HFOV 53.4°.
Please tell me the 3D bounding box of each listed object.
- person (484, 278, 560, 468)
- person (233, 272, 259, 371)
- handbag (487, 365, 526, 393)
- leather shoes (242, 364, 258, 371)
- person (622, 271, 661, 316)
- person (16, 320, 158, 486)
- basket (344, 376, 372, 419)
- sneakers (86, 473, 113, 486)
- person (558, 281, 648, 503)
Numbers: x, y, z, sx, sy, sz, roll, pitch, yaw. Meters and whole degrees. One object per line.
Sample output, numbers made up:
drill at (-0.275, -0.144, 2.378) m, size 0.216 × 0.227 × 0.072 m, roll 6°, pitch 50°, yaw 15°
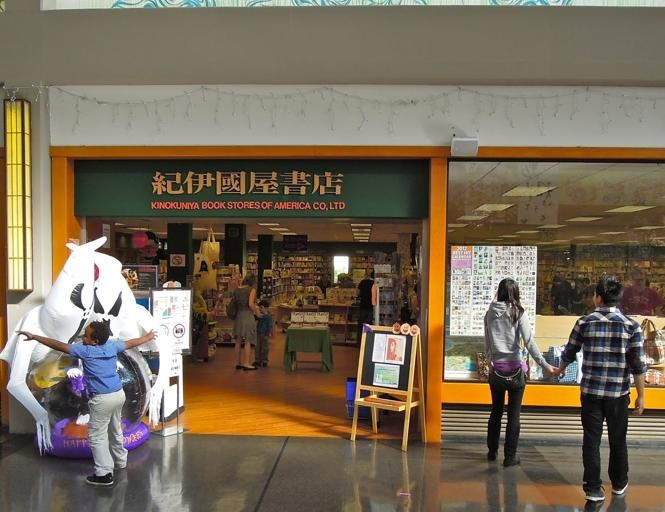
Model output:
person at (1.937, 1.305, 7.205) m, size 0.755 × 2.031 × 0.399 m, roll 8°, pitch 13°, yaw 33°
person at (-1.525, 1.173, 11.609) m, size 0.414 × 1.719 × 1.265 m, roll -1°, pitch 11°, yaw -8°
handbag at (1.895, 1.338, 7.101) m, size 0.411 × 0.294 × 0.236 m, roll -1°, pitch -3°, yaw 6°
leather shoes at (-1.413, 1.931, 11.198) m, size 0.236 × 0.087 × 0.169 m, roll -3°, pitch 11°, yaw -20°
person at (3.764, 0.452, 8.005) m, size 0.528 × 0.696 × 0.389 m, roll -2°, pitch 1°, yaw 9°
person at (-2.500, 1.492, 6.838) m, size 0.691 × 1.642 × 0.685 m, roll 1°, pitch 10°, yaw -1°
basket at (0.243, 1.882, 8.534) m, size 0.446 × 0.587 × 0.426 m, roll 1°, pitch -6°, yaw -5°
sneakers at (-2.349, 2.287, 6.716) m, size 0.295 × 0.124 × 0.113 m, roll 4°, pitch -4°, yaw 15°
person at (2.730, 1.344, 6.595) m, size 0.792 × 2.198 × 0.542 m, roll 0°, pitch 10°, yaw -3°
